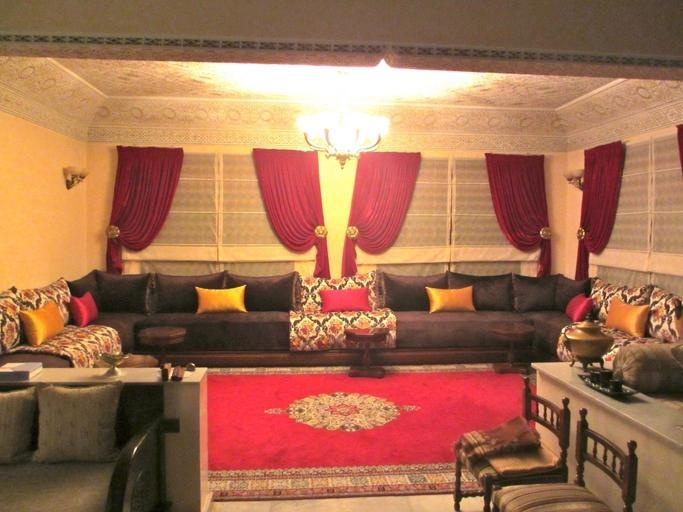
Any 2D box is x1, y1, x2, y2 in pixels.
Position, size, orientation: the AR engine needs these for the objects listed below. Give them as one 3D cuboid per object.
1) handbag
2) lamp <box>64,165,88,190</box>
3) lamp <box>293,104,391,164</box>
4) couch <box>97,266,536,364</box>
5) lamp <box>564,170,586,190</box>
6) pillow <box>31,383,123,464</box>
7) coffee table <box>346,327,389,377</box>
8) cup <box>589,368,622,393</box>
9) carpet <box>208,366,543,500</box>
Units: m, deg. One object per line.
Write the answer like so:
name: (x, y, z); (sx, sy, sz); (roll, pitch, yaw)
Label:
handbag: (1.135, 1.324, 4.223); (0.425, 0.102, 0.351); (-5, 5, -10)
lamp: (-3.614, -1.064, 8.043); (0.300, 0.309, 0.437); (0, 12, -8)
lamp: (0.010, -1.342, 6.943); (1.106, 0.442, 0.997); (3, -8, -31)
couch: (-0.544, 0.811, 7.980); (6.012, 0.970, 0.936); (-1, 19, -2)
lamp: (3.432, -1.118, 8.673); (0.266, 0.314, 0.466); (6, 13, 19)
pillow: (-1.844, 1.162, 4.057); (0.780, 0.501, 0.221); (0, -7, -3)
coffee table: (0.288, 1.183, 7.341); (0.739, 0.469, 0.606); (0, -1, -1)
cup: (1.849, 0.872, 4.144); (0.212, 0.159, 0.119); (3, 7, 45)
carpet: (0.008, 1.614, 6.127); (3.244, 0.023, 2.993); (0, 7, -5)
